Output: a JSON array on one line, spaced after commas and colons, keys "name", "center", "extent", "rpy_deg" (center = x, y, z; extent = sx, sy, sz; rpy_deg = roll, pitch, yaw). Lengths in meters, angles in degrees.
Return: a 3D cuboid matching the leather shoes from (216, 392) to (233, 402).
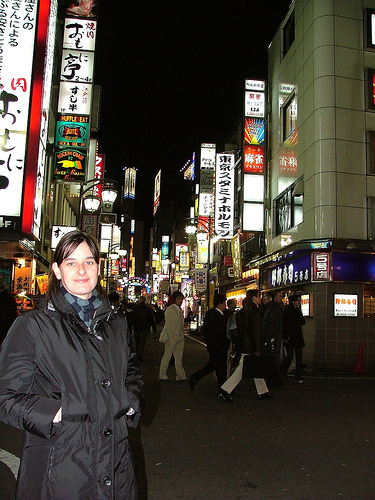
[{"name": "leather shoes", "center": [0.741, 2.925, 9.091], "extent": [0.213, 0.203, 0.380], "rpy_deg": [8, -11, -39]}]
